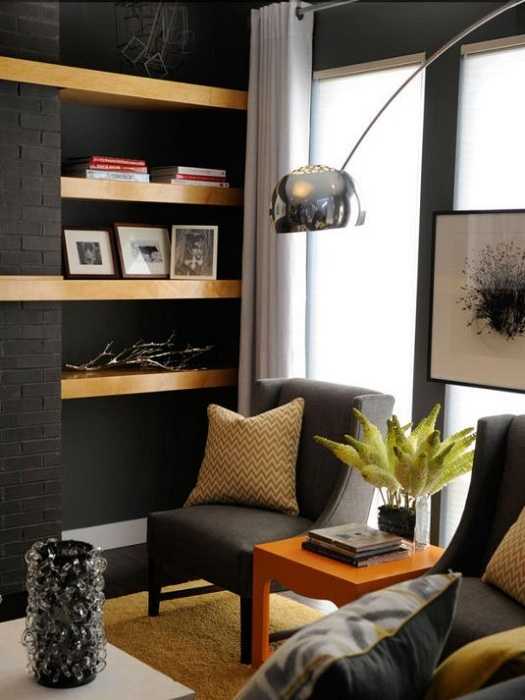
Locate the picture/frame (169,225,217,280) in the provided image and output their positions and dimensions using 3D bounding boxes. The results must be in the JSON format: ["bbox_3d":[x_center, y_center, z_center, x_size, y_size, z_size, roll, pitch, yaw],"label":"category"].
[{"bbox_3d":[-0.410,-0.556,3.516,0.359,0.394,0.015,-1,0,-22],"label":"picture/frame"}]

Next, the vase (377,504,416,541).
[{"bbox_3d":[0.479,0.611,2.151,0.132,0.102,0.192,8,-10,-23],"label":"vase"}]

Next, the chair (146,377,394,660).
[{"bbox_3d":[0.110,0.633,2.805,1.106,1.362,0.986,3,-2,-40],"label":"chair"}]

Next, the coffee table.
[{"bbox_3d":[0.241,0.937,2.157,0.640,0.436,0.630,7,-24,-26],"label":"coffee table"}]

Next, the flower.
[{"bbox_3d":[0.484,0.388,2.220,0.578,0.375,0.477,-2,-4,-2],"label":"flower"}]

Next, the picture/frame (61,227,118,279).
[{"bbox_3d":[-0.933,-0.507,3.240,0.340,0.325,0.031,3,-22,-40],"label":"picture/frame"}]

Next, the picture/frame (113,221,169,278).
[{"bbox_3d":[-0.692,-0.551,3.414,0.366,0.350,0.025,2,-14,-44],"label":"picture/frame"}]
